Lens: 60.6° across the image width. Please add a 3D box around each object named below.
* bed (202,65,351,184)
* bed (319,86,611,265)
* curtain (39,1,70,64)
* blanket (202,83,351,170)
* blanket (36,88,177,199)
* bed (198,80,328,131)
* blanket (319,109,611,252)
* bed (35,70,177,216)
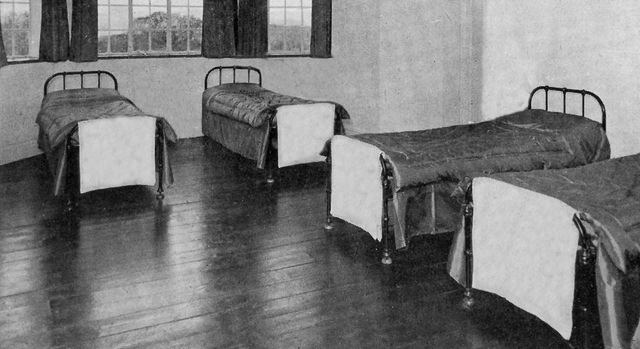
[{"bbox_3d":[-0.845,-0.913,8.485,1.408,1.190,2.357,-10,21,-37],"label":"bed"},{"bbox_3d":[1.594,-0.213,6.262,2.745,1.484,1.857,-4,10,-18],"label":"bed"},{"bbox_3d":[-4.074,-2.151,8.358,0.469,0.916,0.208,-9,16,-27],"label":"curtain"},{"bbox_3d":[-1.038,-0.845,8.295,1.333,0.655,1.928,-12,21,-33],"label":"blanket"},{"bbox_3d":[-3.036,-0.588,7.465,1.433,0.906,2.355,-3,22,-33],"label":"blanket"},{"bbox_3d":[-0.765,-1.070,8.565,1.654,0.524,2.182,-1,14,-32],"label":"bed"},{"bbox_3d":[1.716,-0.219,5.998,2.498,0.862,1.673,-6,16,-16],"label":"blanket"},{"bbox_3d":[-3.034,-0.592,7.578,1.585,1.219,2.388,-7,20,-35],"label":"bed"}]
